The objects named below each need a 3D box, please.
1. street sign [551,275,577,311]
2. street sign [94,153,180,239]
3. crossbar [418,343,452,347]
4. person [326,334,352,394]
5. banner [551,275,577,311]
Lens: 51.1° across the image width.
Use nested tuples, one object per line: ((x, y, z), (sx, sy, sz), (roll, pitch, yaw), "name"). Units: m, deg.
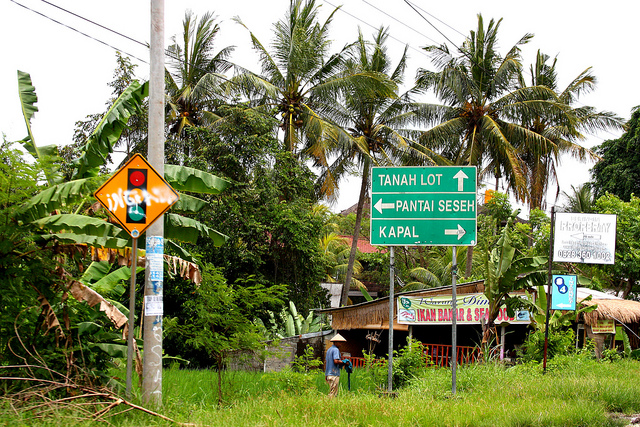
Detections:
((7.770, 2.530, 21.454), (0.981, 1.478, 0.137), (0, 0, 5), "street sign")
((-4.148, -0.337, 15.084), (0.874, 2.212, 2.794), (0, -1, 7), "street sign")
((4.397, 4.991, 25.190), (0.907, 0.095, 3.185), (-1, -11, 6), "crossbar")
((0.521, 4.708, 21.045), (0.659, 1.770, 1.118), (1, -9, 0), "person")
((7.770, 2.530, 21.454), (0.983, 1.531, 0.141), (0, 0, 5), "banner")
